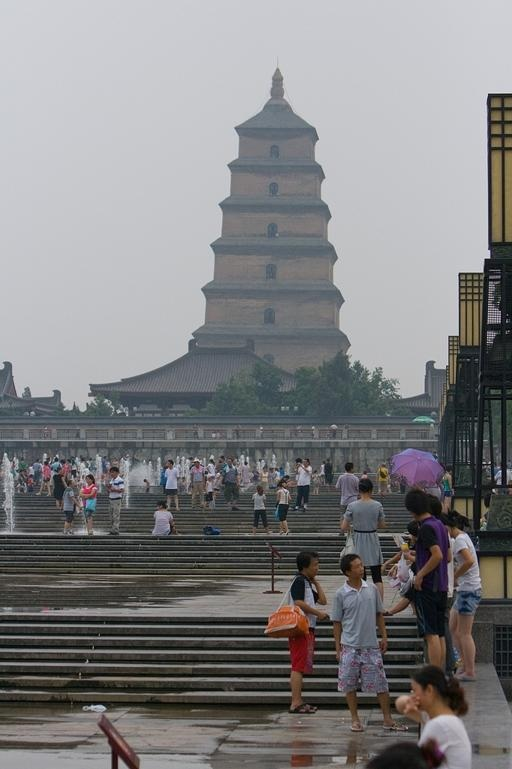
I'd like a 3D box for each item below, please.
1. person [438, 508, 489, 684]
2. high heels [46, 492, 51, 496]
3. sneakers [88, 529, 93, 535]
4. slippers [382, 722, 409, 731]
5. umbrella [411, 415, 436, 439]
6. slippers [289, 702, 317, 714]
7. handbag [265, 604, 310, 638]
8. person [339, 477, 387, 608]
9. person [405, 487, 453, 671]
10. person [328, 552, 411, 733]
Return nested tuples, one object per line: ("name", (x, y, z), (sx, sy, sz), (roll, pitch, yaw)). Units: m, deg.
("person", (1.418, 1.480, 12.748), (0.365, 1.195, 0.391), (0, -5, 7))
("high heels", (-4.242, 2.202, 35.801), (0.057, 0.080, 0.065), (-6, -34, 7))
("sneakers", (-2.179, 1.894, 22.934), (0.064, 0.065, 0.115), (-2, -23, -5))
("slippers", (0.886, 2.195, 11.639), (0.147, 0.067, 0.061), (0, 0, 1))
("umbrella", (5.356, 1.394, 57.692), (0.630, 0.631, 0.654), (-1, -6, 1))
("slippers", (0.296, 2.193, 12.249), (0.143, 0.051, 0.081), (-3, -3, 8))
("handbag", (0.194, 1.575, 11.945), (0.319, 0.211, 0.313), (-3, -4, 32))
("person", (0.825, 1.209, 14.041), (0.328, 1.045, 0.321), (-1, 14, 5))
("person", (1.092, 1.261, 11.610), (0.264, 1.158, 0.378), (-1, -3, 6))
("person", (0.683, 1.663, 11.602), (0.455, 1.139, 0.327), (1, -3, -24))
